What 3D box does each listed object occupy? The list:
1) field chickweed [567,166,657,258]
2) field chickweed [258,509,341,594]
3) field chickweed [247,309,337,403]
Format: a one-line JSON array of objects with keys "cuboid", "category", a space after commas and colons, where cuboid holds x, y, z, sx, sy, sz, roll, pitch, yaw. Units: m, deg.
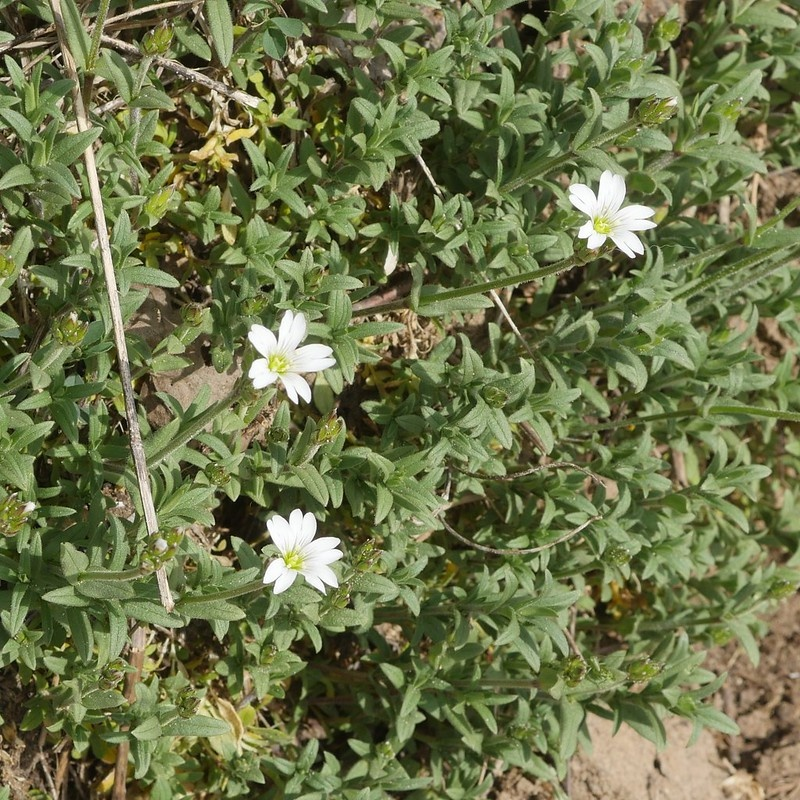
[{"cuboid": [0.749, -0.660, 2.872, 0.354, 0.116, 0.335, 6, 70, -22], "category": "field chickweed"}, {"cuboid": [-0.347, 0.507, 2.530, 0.332, 0.313, 0.097, 6, 94, 18], "category": "field chickweed"}, {"cuboid": [-0.384, -0.118, 2.451, 0.292, 0.106, 0.279, -2, 85, -23], "category": "field chickweed"}]
